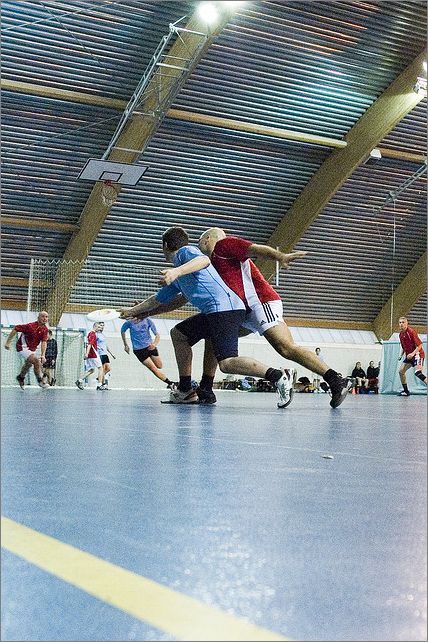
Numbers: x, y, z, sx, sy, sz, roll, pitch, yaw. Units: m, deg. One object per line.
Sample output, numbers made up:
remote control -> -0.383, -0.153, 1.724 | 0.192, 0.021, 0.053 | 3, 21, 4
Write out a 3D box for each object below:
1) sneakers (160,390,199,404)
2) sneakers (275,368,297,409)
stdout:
sneakers -> -0.422, 0.949, 6.174 | 0.479, 0.204, 0.168 | 2, -6, -3
sneakers -> 0.764, 0.771, 5.314 | 0.254, 0.523, 0.197 | 1, 22, 4
